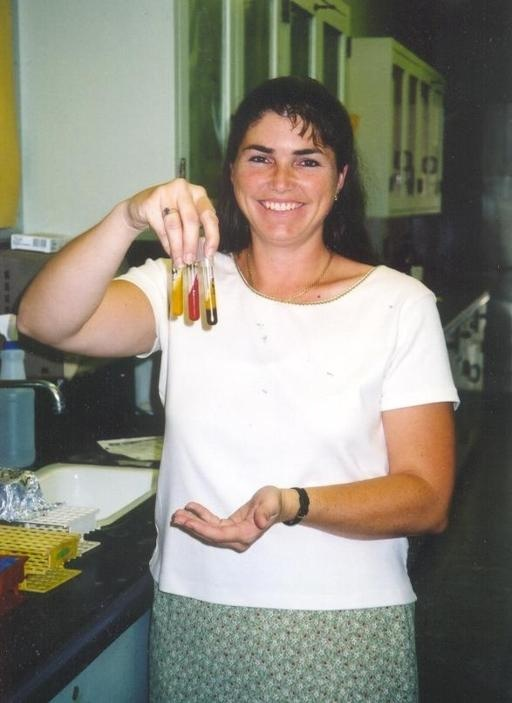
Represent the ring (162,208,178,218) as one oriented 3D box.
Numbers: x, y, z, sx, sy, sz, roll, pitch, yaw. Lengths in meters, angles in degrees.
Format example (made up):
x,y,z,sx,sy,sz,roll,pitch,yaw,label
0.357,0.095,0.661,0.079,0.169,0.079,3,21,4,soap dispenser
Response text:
x,y,z,sx,sy,sz,roll,pitch,yaw,label
-0.094,-0.151,0.728,0.013,0.013,0.024,-3,5,-15,ring
